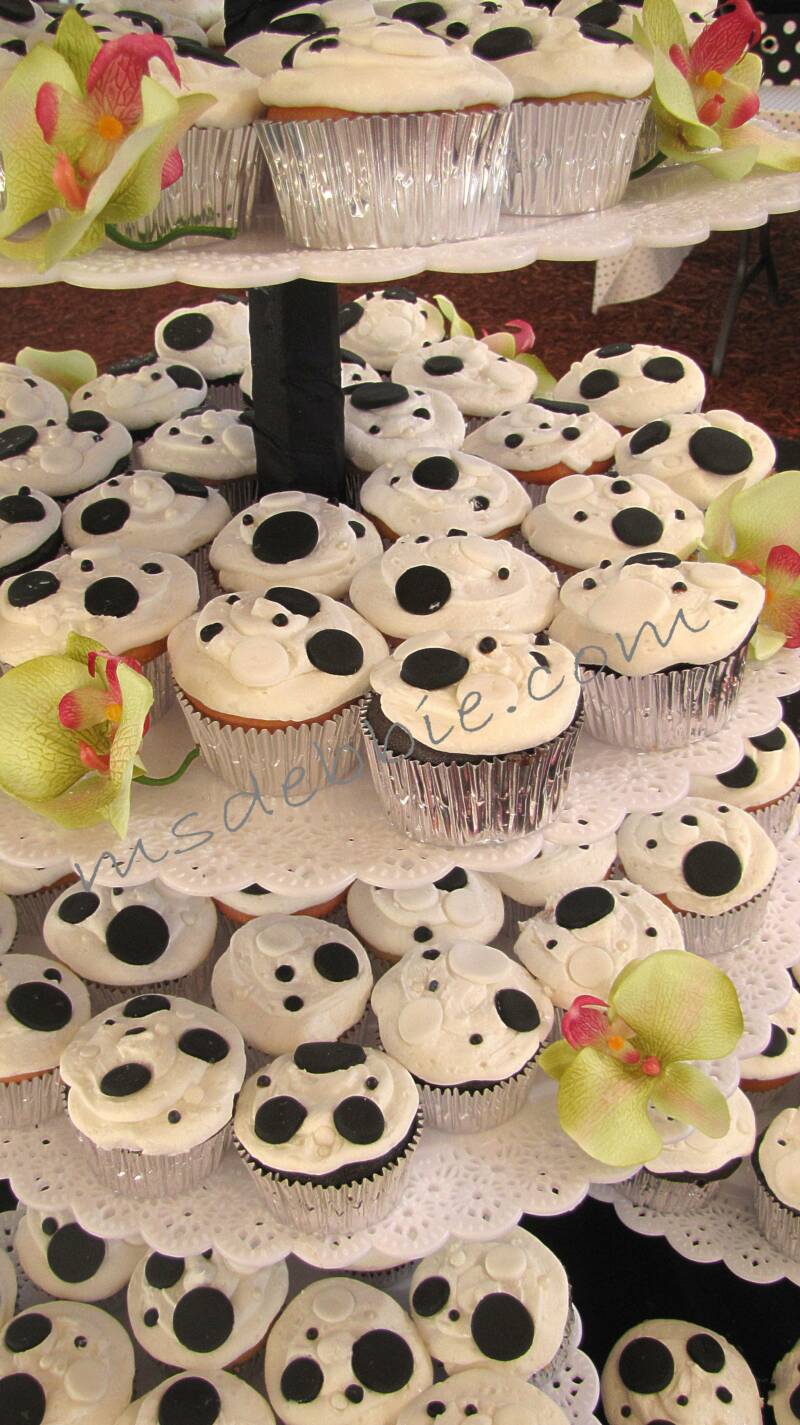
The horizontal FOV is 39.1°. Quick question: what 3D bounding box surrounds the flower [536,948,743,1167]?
[{"bbox_3d":[0.227,0.310,1.023,0.157,0.171,0.123,9,30,10],"label":"flower"}]
